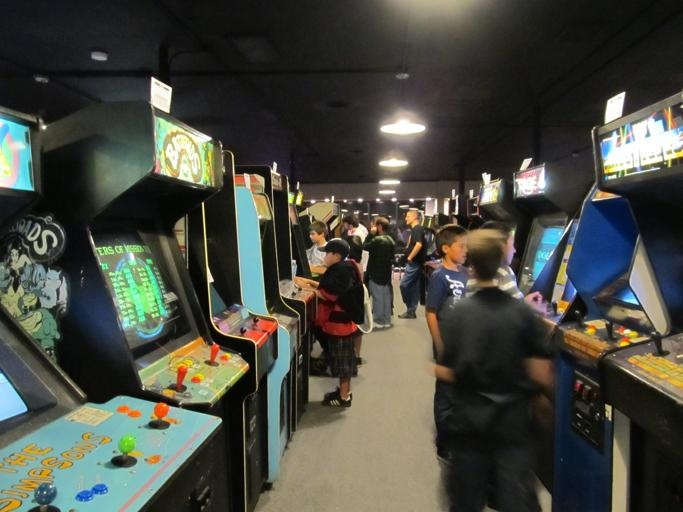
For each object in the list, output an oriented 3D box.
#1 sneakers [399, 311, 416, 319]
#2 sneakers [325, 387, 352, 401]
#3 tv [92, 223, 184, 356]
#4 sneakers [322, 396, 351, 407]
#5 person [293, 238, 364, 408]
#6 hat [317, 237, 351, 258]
[{"bbox_3d":[0.985,0.871,7.251,0.243,0.179,0.104,2,0,15],"label":"sneakers"},{"bbox_3d":[-0.036,1.119,3.958,0.258,0.124,0.092,2,0,5],"label":"sneakers"},{"bbox_3d":[-0.846,0.126,2.056,0.224,0.444,0.366,5,7,21],"label":"tv"},{"bbox_3d":[-0.044,1.173,3.939,0.222,0.102,0.082,7,-6,7],"label":"sneakers"},{"bbox_3d":[-0.079,0.526,3.970,0.554,1.340,0.538,0,7,-21],"label":"person"},{"bbox_3d":[-0.068,-0.078,3.914,0.212,0.131,0.151,19,11,6],"label":"hat"}]
